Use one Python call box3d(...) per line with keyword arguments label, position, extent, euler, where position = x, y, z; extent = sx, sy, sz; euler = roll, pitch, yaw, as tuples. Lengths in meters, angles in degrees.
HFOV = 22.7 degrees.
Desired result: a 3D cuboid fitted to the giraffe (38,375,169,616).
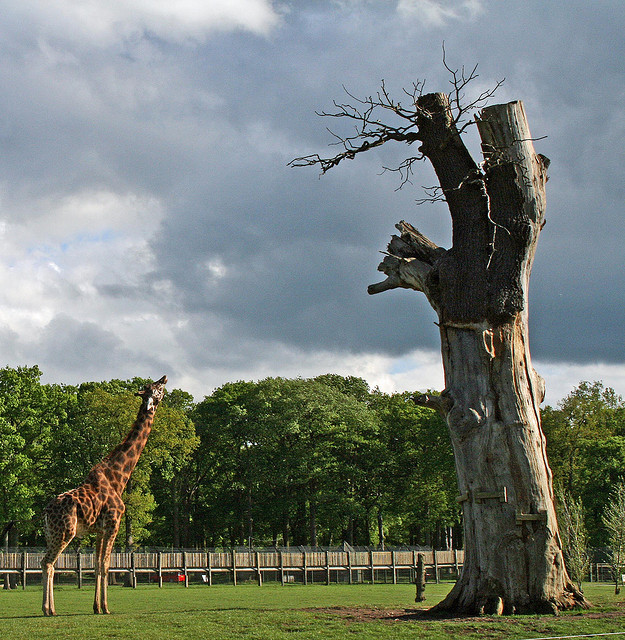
box3d(label="giraffe", position=(-5.803, 4.991, 44.619), extent=(4.220, 6.955, 1.398), euler=(3, -10, -17))
